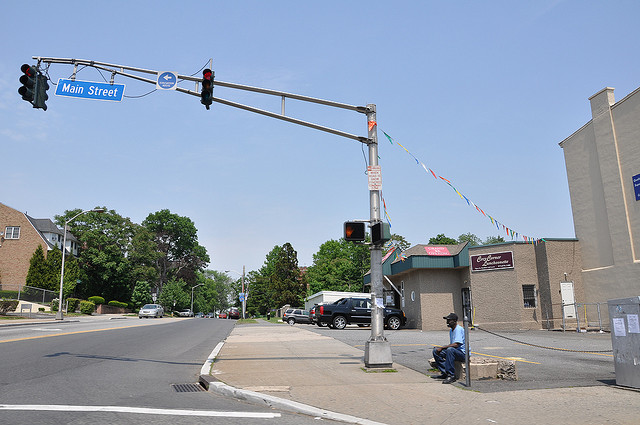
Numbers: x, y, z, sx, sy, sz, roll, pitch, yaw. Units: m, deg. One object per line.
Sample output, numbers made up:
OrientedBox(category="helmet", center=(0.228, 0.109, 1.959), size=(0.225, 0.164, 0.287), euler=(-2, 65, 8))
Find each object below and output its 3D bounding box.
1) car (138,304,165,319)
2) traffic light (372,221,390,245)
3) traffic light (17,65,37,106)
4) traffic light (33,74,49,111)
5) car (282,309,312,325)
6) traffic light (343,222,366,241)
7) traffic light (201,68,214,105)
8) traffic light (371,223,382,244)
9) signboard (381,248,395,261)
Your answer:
OrientedBox(category="car", center=(-19.860, 11.619, 58.408), size=(1.437, 1.088, 3.048), euler=(-1, -13, 2))
OrientedBox(category="traffic light", center=(1.821, 0.611, 14.767), size=(0.411, 0.726, 0.774), euler=(2, 1, -23))
OrientedBox(category="traffic light", center=(-9.702, -4.308, 16.364), size=(0.556, 1.343, 0.280), euler=(16, -22, -42))
OrientedBox(category="traffic light", center=(-9.469, -4.092, 16.762), size=(0.322, 1.304, 0.627), euler=(2, -16, -2))
OrientedBox(category="car", center=(-2.248, 9.914, 46.961), size=(2.396, 0.980, 1.153), euler=(-2, -6, -2))
OrientedBox(category="traffic light", center=(1.057, 0.590, 15.182), size=(0.710, 0.602, 0.253), euler=(0, -3, 1))
OrientedBox(category="traffic light", center=(-3.717, -4.203, 16.187), size=(0.358, 1.193, 0.509), euler=(5, -16, -14))
OrientedBox(category="traffic light", center=(1.758, 0.648, 15.272), size=(0.219, 0.517, 0.606), euler=(4, -6, -17))
OrientedBox(category="signboard", center=(5.442, 3.456, 39.816), size=(2.323, 0.414, 0.102), euler=(-28, -27, -51))
